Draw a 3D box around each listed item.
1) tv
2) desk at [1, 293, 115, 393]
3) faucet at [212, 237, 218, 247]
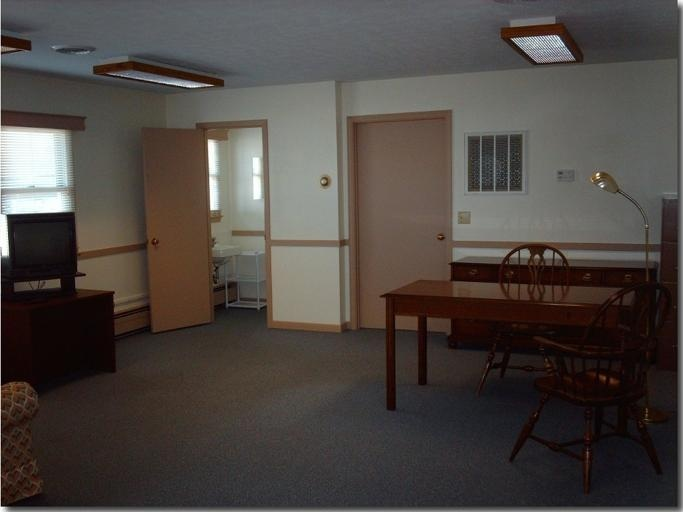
[{"bbox_3d":[-2.749,-0.094,4.648,0.573,0.551,0.314,-3,2,-43],"label":"tv"},{"bbox_3d":[-2.559,0.751,4.717,0.755,0.942,0.996,10,14,39],"label":"desk"},{"bbox_3d":[-1.807,-0.195,7.241,0.079,0.099,0.102,0,-3,-7],"label":"faucet"}]
